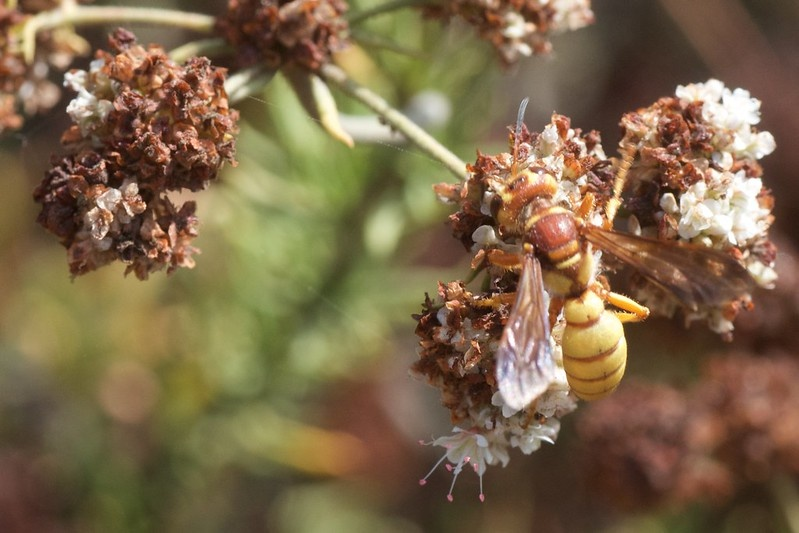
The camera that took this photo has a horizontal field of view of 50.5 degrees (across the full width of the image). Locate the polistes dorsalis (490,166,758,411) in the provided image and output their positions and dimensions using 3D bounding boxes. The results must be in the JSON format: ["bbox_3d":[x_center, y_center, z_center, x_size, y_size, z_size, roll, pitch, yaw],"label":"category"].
[{"bbox_3d":[0.406,0.035,1.637,0.376,0.531,0.434,11,15,27],"label":"polistes dorsalis"}]

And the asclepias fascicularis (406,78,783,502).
[{"bbox_3d":[0.370,-0.004,1.851,0.508,0.963,0.681,2,5,1],"label":"asclepias fascicularis"}]
